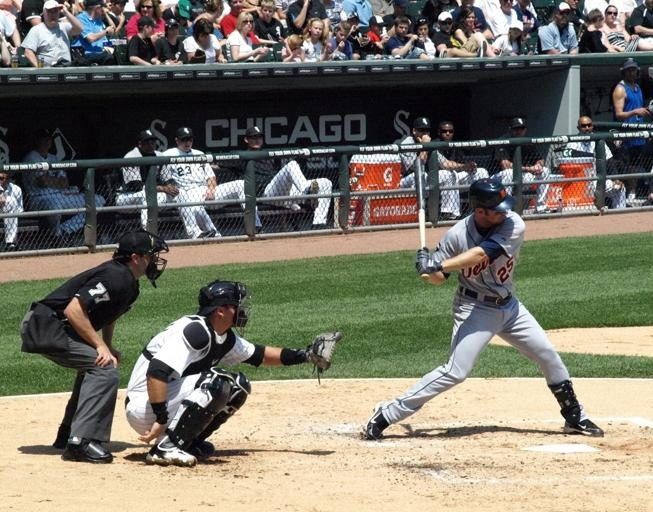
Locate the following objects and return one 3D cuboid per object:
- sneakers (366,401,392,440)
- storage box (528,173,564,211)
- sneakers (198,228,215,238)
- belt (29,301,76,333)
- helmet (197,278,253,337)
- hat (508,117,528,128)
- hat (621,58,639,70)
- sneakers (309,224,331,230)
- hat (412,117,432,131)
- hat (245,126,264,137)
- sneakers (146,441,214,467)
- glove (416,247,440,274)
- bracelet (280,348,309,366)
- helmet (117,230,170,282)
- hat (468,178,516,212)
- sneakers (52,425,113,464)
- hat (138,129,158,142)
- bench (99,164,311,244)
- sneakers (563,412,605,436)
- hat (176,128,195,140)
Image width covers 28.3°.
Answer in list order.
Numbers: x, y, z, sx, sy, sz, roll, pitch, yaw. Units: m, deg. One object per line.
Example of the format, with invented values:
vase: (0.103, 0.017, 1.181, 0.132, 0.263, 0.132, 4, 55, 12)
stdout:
sneakers: (0.446, 1.473, 11.411, 0.175, 0.390, 0.144, 21, 17, -10)
storage box: (3.501, -1.018, 20.592, 0.589, 0.541, 0.144, -8, 8, -19)
sneakers: (-1.750, -0.348, 19.030, 0.192, 0.110, 0.061, -10, 49, -13)
belt: (-2.300, 0.501, 10.793, 0.219, 0.124, 0.170, 29, 28, -4)
helmet: (-0.857, 0.402, 10.770, 0.422, 0.444, 0.254, -2, 15, -7)
hat: (3.123, -2.183, 20.896, 0.230, 0.174, 0.309, 1, -5, -1)
hat: (4.957, -3.104, 20.990, 0.255, 0.213, 0.340, 4, 15, 13)
sneakers: (-0.096, -0.455, 19.674, 0.265, 0.106, 0.049, -3, 15, -10)
hat: (1.511, -2.075, 20.355, 0.267, 0.192, 0.356, -3, 2, -18)
hat: (-1.121, -1.866, 19.567, 0.231, 0.157, 0.322, -6, 3, -34)
sneakers: (-1.219, 1.625, 10.835, 0.608, 0.270, 0.205, -3, -3, 5)
glove: (0.869, 0.060, 11.143, 0.208, 0.086, 0.217, 24, 33, 16)
bracelet: (-0.273, 0.853, 11.104, 0.186, 0.141, 0.079, 0, -29, 2)
helmet: (-1.582, -0.066, 11.121, 0.463, 0.453, 0.380, -11, 26, -23)
hat: (1.432, -0.493, 11.136, 0.349, 0.188, 0.257, 11, 40, 17)
sneakers: (-2.124, 1.579, 10.901, 0.654, 0.275, 0.221, 1, 7, 15)
hat: (-2.654, -1.773, 18.778, 0.185, 0.130, 0.250, -9, 0, -35)
bench: (-1.935, -0.897, 19.650, 3.202, 1.030, 1.327, -2, -5, -27)
sneakers: (2.273, 1.479, 11.395, 0.314, 0.142, 0.161, 1, 4, 13)
hat: (-2.103, -1.828, 19.037, 0.224, 0.160, 0.306, -2, -5, -20)
